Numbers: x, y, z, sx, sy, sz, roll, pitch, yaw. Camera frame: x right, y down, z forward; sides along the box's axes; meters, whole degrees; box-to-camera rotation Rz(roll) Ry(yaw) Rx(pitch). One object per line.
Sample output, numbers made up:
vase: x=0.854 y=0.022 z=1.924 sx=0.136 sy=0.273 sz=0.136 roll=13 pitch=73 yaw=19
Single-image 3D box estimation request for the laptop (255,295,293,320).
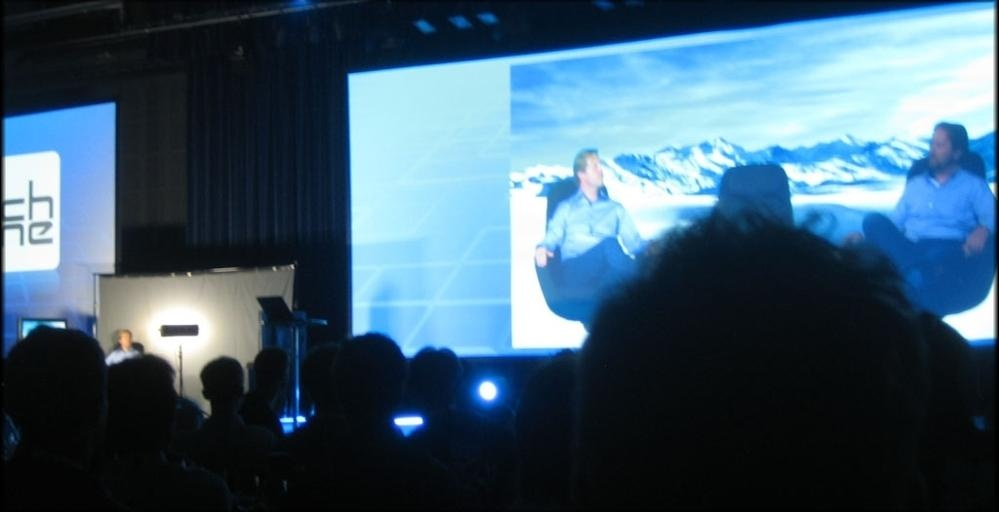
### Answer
laptop: x=-2.756 y=0.641 z=14.638 sx=0.432 sy=0.302 sz=0.084 roll=0 pitch=34 yaw=11
